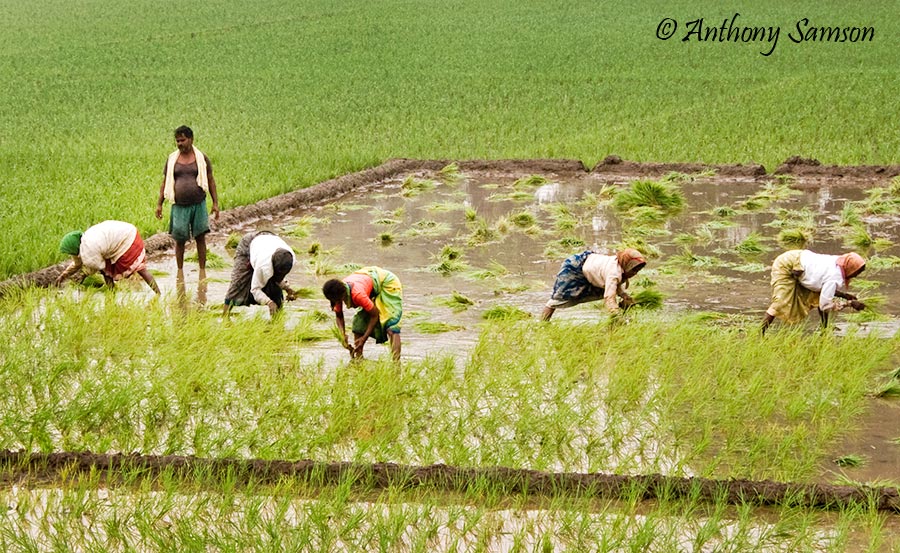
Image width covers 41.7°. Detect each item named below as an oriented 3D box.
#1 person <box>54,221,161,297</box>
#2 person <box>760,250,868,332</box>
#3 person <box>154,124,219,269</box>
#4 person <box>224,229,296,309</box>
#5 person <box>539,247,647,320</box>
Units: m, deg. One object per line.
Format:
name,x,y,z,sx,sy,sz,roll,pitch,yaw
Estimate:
person,-4.884,-0.178,16.937,1.503,1.129,0.792,-4,14,-5
person,4.965,0.219,16.339,1.323,1.272,0.816,7,26,14
person,-3.934,-1.150,17.704,0.878,2.266,0.556,-3,21,-11
person,-2.658,-0.068,16.543,0.663,0.918,1.199,-13,-17,-30
person,2.051,0.146,16.599,1.643,0.993,1.050,2,15,31
